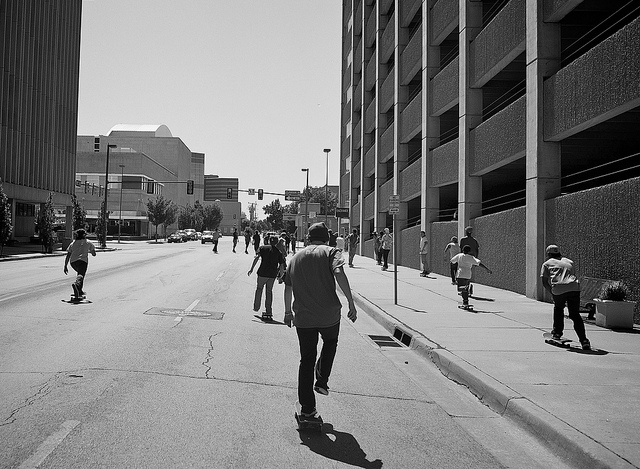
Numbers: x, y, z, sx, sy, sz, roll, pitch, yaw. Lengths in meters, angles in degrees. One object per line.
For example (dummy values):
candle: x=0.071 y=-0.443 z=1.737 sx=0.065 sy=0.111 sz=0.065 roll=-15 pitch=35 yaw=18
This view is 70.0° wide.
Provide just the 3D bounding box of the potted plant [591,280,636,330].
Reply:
potted plant: x=6.697 y=1.624 z=10.362 sx=0.689 sy=0.994 sz=0.542 roll=1 pitch=2 yaw=8

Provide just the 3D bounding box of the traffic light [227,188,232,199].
traffic light: x=-10.499 y=-4.828 z=53.315 sx=0.238 sy=1.475 sz=2.525 roll=9 pitch=15 yaw=-16

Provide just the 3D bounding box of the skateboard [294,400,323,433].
skateboard: x=-0.126 y=2.157 z=5.443 sx=0.321 sy=0.323 sz=0.315 roll=0 pitch=1 yaw=0

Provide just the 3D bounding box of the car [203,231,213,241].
car: x=-16.622 y=0.112 z=68.164 sx=1.335 sy=1.122 sz=2.324 roll=1 pitch=-4 yaw=-13

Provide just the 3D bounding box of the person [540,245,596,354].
person: x=4.638 y=1.174 z=8.644 sx=0.863 sy=1.895 sz=0.482 roll=1 pitch=2 yaw=34

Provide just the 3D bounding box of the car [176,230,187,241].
car: x=-21.767 y=-0.014 z=73.353 sx=1.511 sy=2.291 sz=0.765 roll=-1 pitch=-3 yaw=20

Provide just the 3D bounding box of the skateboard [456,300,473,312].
skateboard: x=3.999 y=2.023 z=12.749 sx=0.142 sy=0.192 sz=0.452 roll=3 pitch=6 yaw=-25

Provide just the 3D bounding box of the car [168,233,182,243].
car: x=-21.730 y=0.597 z=69.084 sx=1.152 sy=0.990 sz=2.680 roll=0 pitch=-4 yaw=-11

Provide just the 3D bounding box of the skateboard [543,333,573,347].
skateboard: x=4.505 y=2.016 z=8.722 sx=0.142 sy=0.093 sz=0.569 roll=-3 pitch=4 yaw=-19

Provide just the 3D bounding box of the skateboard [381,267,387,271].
skateboard: x=3.589 y=1.912 z=25.467 sx=0.278 sy=0.202 sz=0.514 roll=1 pitch=1 yaw=9

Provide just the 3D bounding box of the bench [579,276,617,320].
bench: x=6.687 y=1.545 z=10.991 sx=0.394 sy=0.563 sz=1.060 roll=-1 pitch=-2 yaw=5

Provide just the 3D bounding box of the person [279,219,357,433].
person: x=-0.043 y=1.071 z=5.794 sx=0.929 sy=2.521 sz=0.777 roll=-5 pitch=-16 yaw=21

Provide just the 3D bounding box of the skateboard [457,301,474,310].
skateboard: x=4.000 y=2.027 z=12.757 sx=0.160 sy=0.212 sz=0.501 roll=3 pitch=5 yaw=-23

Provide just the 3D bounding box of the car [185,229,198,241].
car: x=-22.352 y=0.124 z=79.553 sx=1.223 sy=1.189 sz=2.993 roll=1 pitch=7 yaw=4

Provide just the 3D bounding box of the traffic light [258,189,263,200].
traffic light: x=-7.189 y=-4.903 z=55.824 sx=0.393 sy=1.076 sz=0.387 roll=-1 pitch=2 yaw=-37

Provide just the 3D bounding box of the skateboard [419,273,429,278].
skateboard: x=5.083 y=1.994 z=22.275 sx=0.422 sy=0.378 sz=0.160 roll=-2 pitch=0 yaw=23

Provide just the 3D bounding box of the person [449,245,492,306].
person: x=4.132 y=1.085 z=12.744 sx=0.863 sy=1.711 sz=0.928 roll=0 pitch=9 yaw=7

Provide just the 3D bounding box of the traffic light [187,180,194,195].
traffic light: x=-13.214 y=-4.829 z=46.651 sx=0.496 sy=1.341 sz=2.428 roll=0 pitch=1 yaw=-18

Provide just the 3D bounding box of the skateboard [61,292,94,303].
skateboard: x=-6.766 y=1.792 z=12.930 sx=0.898 sy=0.448 sz=0.328 roll=0 pitch=-1 yaw=-2
